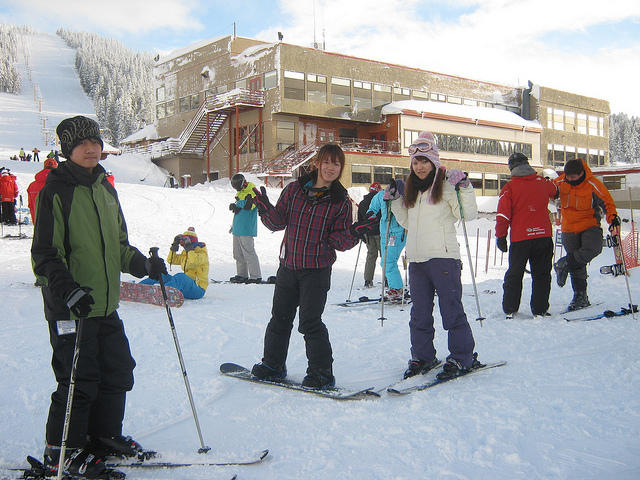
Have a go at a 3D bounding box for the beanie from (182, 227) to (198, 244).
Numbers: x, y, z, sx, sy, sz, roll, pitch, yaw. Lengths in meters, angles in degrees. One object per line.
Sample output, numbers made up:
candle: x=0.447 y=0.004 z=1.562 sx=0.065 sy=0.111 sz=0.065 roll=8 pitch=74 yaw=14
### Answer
beanie: x=-2.134 y=-0.095 z=9.218 sx=0.239 sy=0.279 sz=0.242 roll=11 pitch=-16 yaw=16

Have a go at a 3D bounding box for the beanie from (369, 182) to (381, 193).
beanie: x=0.881 y=-0.883 z=9.224 sx=0.155 sy=0.176 sz=0.133 roll=8 pitch=0 yaw=-41

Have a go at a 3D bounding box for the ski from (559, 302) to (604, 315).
ski: x=3.268 y=0.875 z=7.226 sx=0.600 sy=0.046 sz=0.065 roll=-9 pitch=41 yaw=-28

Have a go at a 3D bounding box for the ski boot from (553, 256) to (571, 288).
ski boot: x=3.312 y=0.422 z=7.688 sx=0.194 sy=0.480 sz=0.561 roll=3 pitch=8 yaw=23

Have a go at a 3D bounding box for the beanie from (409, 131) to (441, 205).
beanie: x=0.981 y=-0.657 z=5.055 sx=0.346 sy=0.596 sz=0.295 roll=0 pitch=-2 yaw=36

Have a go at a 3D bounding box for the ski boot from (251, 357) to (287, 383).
ski boot: x=-0.446 y=1.106 z=4.787 sx=0.309 sy=0.147 sz=0.131 roll=14 pitch=-11 yaw=-32

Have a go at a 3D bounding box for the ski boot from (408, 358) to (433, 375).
ski boot: x=0.875 y=1.098 z=4.948 sx=0.098 sy=0.078 sz=0.173 roll=-8 pitch=0 yaw=43

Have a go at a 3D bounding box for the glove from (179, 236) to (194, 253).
glove: x=-1.848 y=0.043 z=7.870 sx=0.184 sy=0.196 sz=0.071 roll=-12 pitch=-20 yaw=25

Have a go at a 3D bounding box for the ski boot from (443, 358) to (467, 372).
ski boot: x=1.148 y=1.063 z=4.839 sx=0.147 sy=0.065 sz=0.095 roll=9 pitch=-12 yaw=-30

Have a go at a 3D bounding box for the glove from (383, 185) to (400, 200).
glove: x=0.651 y=-0.449 z=5.236 sx=0.151 sy=0.147 sz=0.094 roll=11 pitch=-3 yaw=-16

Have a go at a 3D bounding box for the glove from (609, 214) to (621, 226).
glove: x=3.761 y=-0.267 z=7.173 sx=0.127 sy=0.142 sz=0.179 roll=4 pitch=8 yaw=25

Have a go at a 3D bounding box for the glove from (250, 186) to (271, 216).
glove: x=-0.509 y=-0.346 z=4.890 sx=0.155 sy=0.253 sz=0.296 roll=-1 pitch=7 yaw=-9

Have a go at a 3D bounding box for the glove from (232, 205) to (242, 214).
glove: x=-1.396 y=-0.521 z=9.378 sx=0.200 sy=0.148 sz=0.088 roll=6 pitch=9 yaw=36

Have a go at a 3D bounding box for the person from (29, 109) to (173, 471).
person: x=-1.481 y=0.304 z=3.634 sx=0.786 sy=2.191 sz=0.618 roll=-6 pitch=9 yaw=-43

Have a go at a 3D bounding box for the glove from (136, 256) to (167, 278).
glove: x=-1.174 y=0.185 z=3.916 sx=0.200 sy=0.153 sz=0.147 roll=-1 pitch=7 yaw=-11

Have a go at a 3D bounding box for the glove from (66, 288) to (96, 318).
glove: x=-1.485 y=0.337 z=3.462 sx=0.063 sy=0.186 sz=0.198 roll=-24 pitch=-23 yaw=-40

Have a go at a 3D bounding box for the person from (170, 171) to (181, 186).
person: x=-8.474 y=-3.622 z=32.937 sx=0.676 sy=0.610 sz=1.952 roll=20 pitch=-4 yaw=-12

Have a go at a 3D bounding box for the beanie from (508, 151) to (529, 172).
beanie: x=2.525 y=-0.999 z=7.220 sx=0.197 sy=0.245 sz=0.267 roll=-2 pitch=25 yaw=34

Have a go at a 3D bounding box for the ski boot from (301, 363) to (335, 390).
ski boot: x=-0.012 y=1.125 z=4.595 sx=0.300 sy=0.202 sz=0.117 roll=9 pitch=-13 yaw=-27

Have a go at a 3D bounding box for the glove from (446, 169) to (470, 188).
glove: x=1.222 y=-0.560 z=5.057 sx=0.165 sy=0.157 sz=0.260 roll=-2 pitch=8 yaw=-16

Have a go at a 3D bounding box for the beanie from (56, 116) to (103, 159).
beanie: x=-1.579 y=-0.677 z=3.696 sx=0.278 sy=0.279 sz=0.154 roll=-3 pitch=8 yaw=-26

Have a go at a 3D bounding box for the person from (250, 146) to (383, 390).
person: x=-0.117 y=0.300 z=4.743 sx=0.954 sy=1.750 sz=0.588 roll=1 pitch=7 yaw=7

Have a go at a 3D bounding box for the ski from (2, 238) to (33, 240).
ski: x=-7.009 y=-0.041 z=12.978 sx=0.571 sy=0.033 sz=0.185 roll=-6 pitch=10 yaw=-39

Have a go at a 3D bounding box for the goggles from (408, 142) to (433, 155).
goggles: x=0.876 y=-0.823 z=5.044 sx=0.245 sy=0.104 sz=0.122 roll=7 pitch=10 yaw=40

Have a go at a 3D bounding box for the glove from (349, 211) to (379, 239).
glove: x=0.362 y=-0.121 z=4.720 sx=0.225 sy=0.097 sz=0.164 roll=-34 pitch=-4 yaw=16
